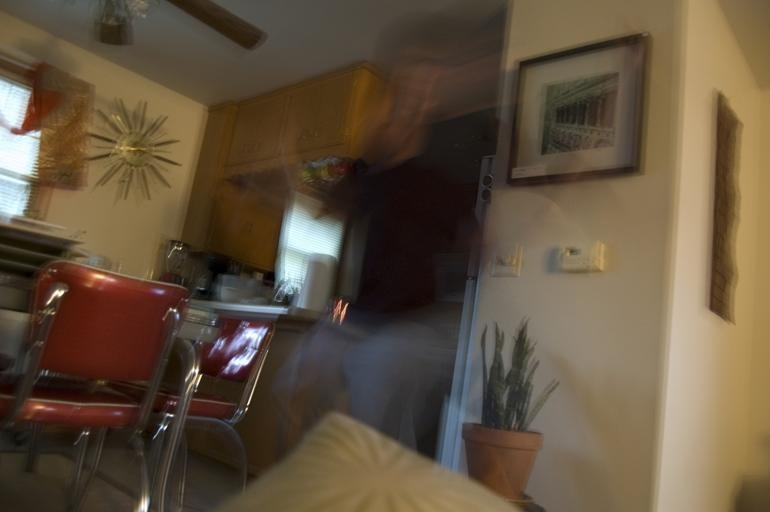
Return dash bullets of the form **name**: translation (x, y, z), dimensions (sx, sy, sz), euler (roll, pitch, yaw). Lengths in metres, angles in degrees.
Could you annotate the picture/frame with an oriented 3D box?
- **picture/frame**: translation (0.155, -0.115, 0.396), dimensions (0.123, 0.151, 0.011), euler (-5, -18, 35)
